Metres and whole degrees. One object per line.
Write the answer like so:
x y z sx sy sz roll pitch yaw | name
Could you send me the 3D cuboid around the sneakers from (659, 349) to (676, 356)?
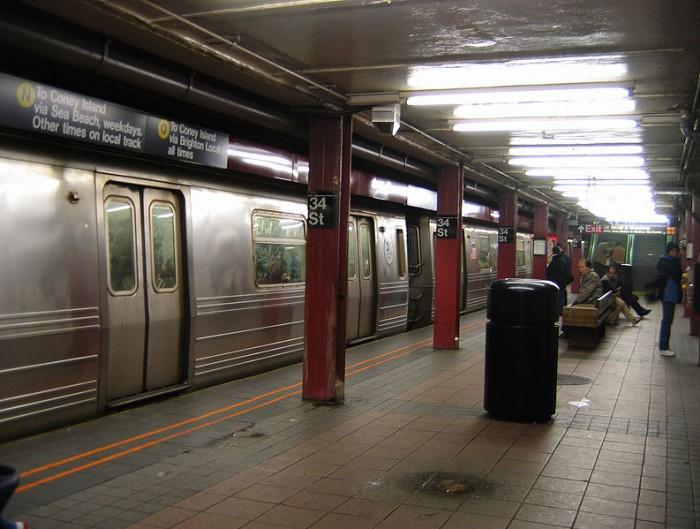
6.818 1.896 10.265 0.199 0.070 0.138 0 9 26 | sneakers
